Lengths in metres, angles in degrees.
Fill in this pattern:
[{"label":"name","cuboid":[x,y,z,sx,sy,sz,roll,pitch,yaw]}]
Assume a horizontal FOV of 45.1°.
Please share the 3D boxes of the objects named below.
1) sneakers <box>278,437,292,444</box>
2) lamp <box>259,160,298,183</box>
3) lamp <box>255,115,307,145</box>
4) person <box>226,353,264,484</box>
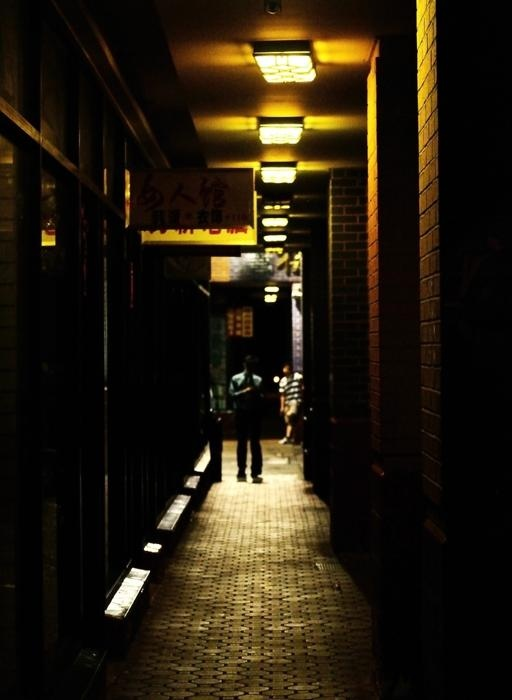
[{"label":"sneakers","cuboid":[0.801,2.481,16.899,0.236,0.149,0.144,3,-6,-33]},{"label":"lamp","cuboid":[0.238,-1.929,6.670,0.393,0.132,0.351,0,-3,-2]},{"label":"lamp","cuboid":[0.215,-1.893,5.282,0.395,0.124,0.409,-1,-3,3]},{"label":"person","cuboid":[-0.181,1.240,11.205,0.543,2.246,0.766,0,-2,-3]}]
